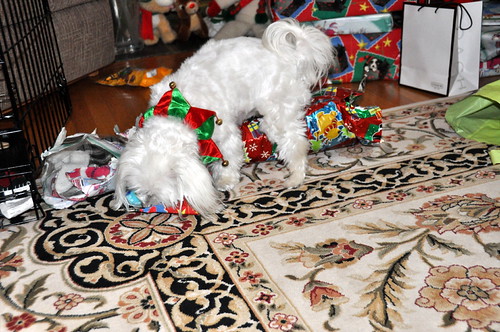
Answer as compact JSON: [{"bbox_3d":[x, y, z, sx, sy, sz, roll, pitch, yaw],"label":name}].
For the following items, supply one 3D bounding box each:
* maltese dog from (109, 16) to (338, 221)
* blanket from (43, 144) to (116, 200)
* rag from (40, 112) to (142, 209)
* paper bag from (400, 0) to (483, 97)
[{"bbox_3d":[-0.177,-0.320,2.326,0.926,0.734,1.550,30,50,24],"label":"maltese dog"},{"bbox_3d":[-0.962,0.041,2.244,0.416,0.129,0.307,-10,56,-10],"label":"blanket"},{"bbox_3d":[-0.788,-0.021,2.357,0.602,0.443,0.560,-2,29,-3],"label":"rag"},{"bbox_3d":[1.408,-0.870,2.931,0.354,0.749,0.723,-24,31,-35],"label":"paper bag"}]
